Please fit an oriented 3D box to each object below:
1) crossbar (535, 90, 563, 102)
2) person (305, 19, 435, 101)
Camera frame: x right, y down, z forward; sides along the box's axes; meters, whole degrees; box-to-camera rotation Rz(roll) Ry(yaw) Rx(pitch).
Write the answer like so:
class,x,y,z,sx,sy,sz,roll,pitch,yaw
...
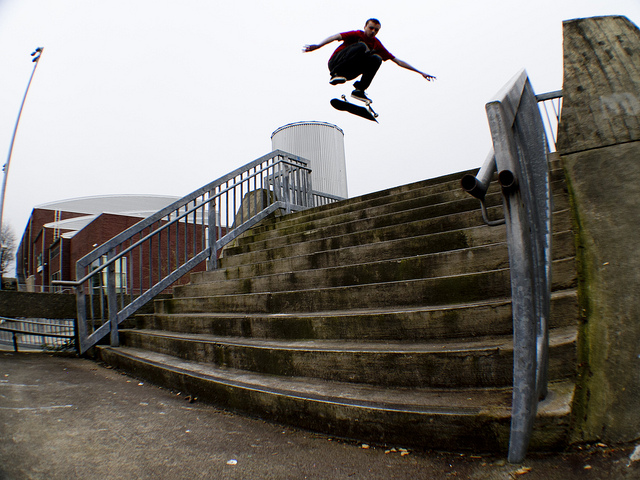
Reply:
class,x,y,z,sx,sy,sz,roll,pitch,yaw
crossbar,3.057,-1.915,7.405,0.295,0.135,0.504,1,10,19
person,0.522,-2.421,7.545,1.143,1.038,0.505,-8,12,-25
